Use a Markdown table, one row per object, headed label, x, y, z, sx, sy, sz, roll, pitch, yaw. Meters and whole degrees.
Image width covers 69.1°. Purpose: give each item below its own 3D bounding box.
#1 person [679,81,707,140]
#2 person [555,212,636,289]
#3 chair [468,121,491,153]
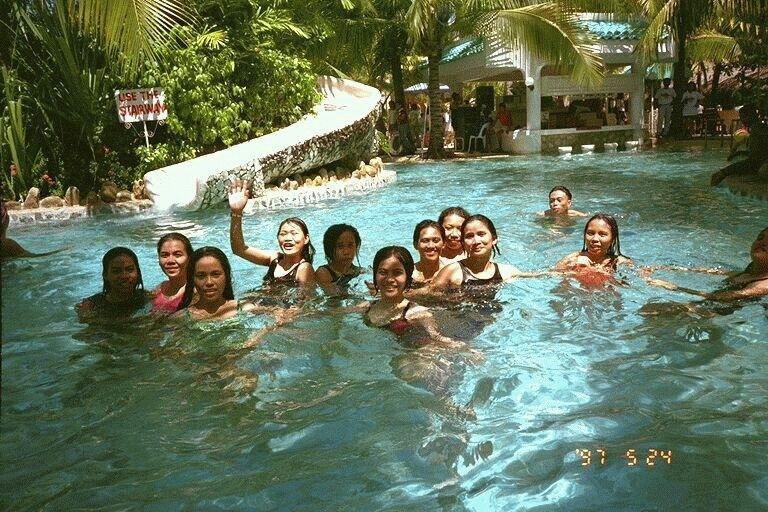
| label | x | y | z | sx | sy | sz | roll | pitch | yaw |
| --- | --- | --- | --- | --- | --- | --- | --- | --- | --- |
| person | 10.558 | -5.204 | 19.249 | 0.712 | 1.748 | 0.621 | 2 | 16 | 30 |
| person | 2.125 | -0.098 | 5.614 | 0.754 | 0.664 | 0.619 | -8 | 11 | -26 |
| chair | 3.536 | -4.524 | 21.003 | 1.028 | 1.331 | 0.749 | -5 | 11 | -34 |
